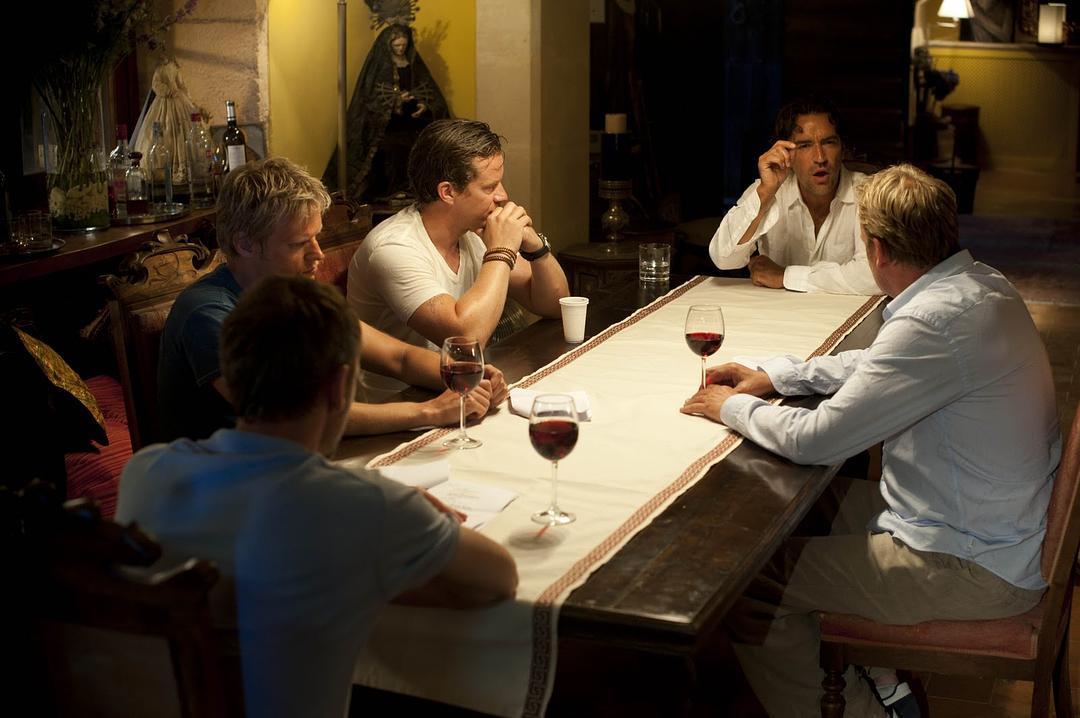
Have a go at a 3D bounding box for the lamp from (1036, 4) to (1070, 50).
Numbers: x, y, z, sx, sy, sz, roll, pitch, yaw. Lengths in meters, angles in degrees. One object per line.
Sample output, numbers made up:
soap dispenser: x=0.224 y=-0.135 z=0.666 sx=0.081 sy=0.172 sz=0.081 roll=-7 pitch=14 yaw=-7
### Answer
lamp: x=6.394 y=-4.200 z=9.530 sx=0.332 sy=0.492 sz=0.147 roll=8 pitch=15 yaw=36

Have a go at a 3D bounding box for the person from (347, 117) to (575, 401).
person: x=-0.317 y=-0.268 z=3.016 sx=0.787 sy=1.318 sz=0.903 roll=0 pitch=27 yaw=-13

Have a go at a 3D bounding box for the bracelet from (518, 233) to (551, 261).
bracelet: x=-0.011 y=-0.456 z=3.117 sx=0.092 sy=0.056 sz=0.111 roll=-14 pitch=17 yaw=14

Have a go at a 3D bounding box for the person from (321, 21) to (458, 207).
person: x=-0.895 y=-1.570 z=4.501 sx=0.836 sy=1.030 sz=0.589 roll=-24 pitch=60 yaw=-27

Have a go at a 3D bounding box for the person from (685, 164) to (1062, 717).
person: x=0.959 y=0.014 z=2.940 sx=1.377 sy=2.349 sz=0.975 roll=5 pitch=11 yaw=24

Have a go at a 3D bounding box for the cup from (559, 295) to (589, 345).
cup: x=0.119 y=-0.147 z=2.717 sx=0.132 sy=0.165 sz=0.143 roll=0 pitch=16 yaw=0

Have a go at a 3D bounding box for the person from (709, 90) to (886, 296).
person: x=1.247 y=-0.634 z=3.586 sx=0.781 sy=1.135 sz=0.732 roll=-6 pitch=14 yaw=-11

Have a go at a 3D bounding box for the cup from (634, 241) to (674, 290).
cup: x=0.491 y=-0.417 z=3.344 sx=0.180 sy=0.229 sz=0.192 roll=0 pitch=6 yaw=0
